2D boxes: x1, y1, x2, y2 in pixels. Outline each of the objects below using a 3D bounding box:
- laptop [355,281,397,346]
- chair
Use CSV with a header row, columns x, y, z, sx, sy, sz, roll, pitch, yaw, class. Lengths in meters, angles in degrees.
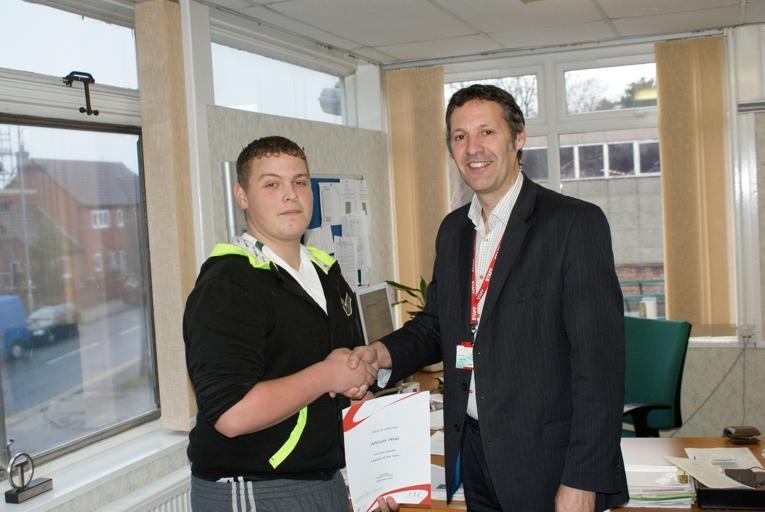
x,y,z,sx,sy,sz,roll,pitch,yaw,class
-0.050,0.378,4.172,0.032,0.417,0.392,-7,6,33,laptop
1.786,0.843,4.215,0.416,0.771,0.571,1,6,33,chair
